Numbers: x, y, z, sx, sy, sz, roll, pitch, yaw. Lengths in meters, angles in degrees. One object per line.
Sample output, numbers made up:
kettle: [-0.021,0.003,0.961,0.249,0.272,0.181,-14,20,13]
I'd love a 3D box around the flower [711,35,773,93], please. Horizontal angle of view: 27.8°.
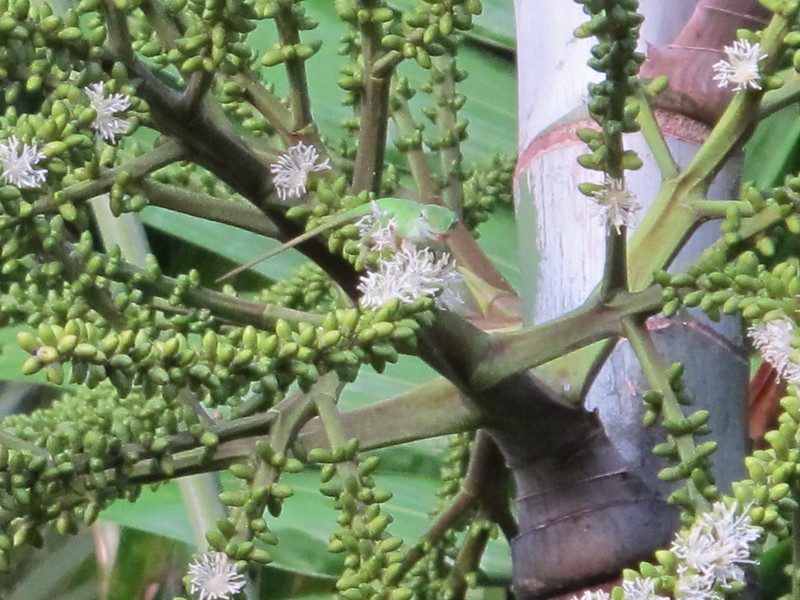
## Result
flower: [0.359,-0.238,1.687,0.060,0.062,0.025,26,14,26]

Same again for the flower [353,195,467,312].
flower: [0.008,-0.052,1.696,0.114,0.121,0.052,-5,-24,-27]

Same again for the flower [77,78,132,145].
flower: [-0.300,-0.189,1.638,0.031,0.054,0.056,-4,50,-11]

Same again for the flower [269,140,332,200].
flower: [-0.109,-0.139,1.722,0.061,0.061,0.032,-8,-20,28]
